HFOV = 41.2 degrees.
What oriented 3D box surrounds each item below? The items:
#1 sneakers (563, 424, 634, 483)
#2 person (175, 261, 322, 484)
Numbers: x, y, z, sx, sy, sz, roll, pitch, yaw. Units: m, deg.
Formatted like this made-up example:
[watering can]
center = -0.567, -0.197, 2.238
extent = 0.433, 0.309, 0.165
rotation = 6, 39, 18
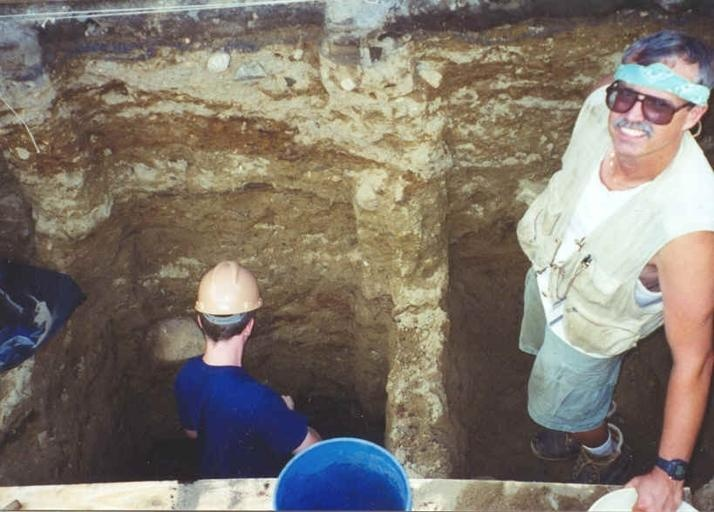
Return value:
[sneakers]
center = 1.437, 1.166, 5.633
extent = 0.284, 0.411, 0.224
rotation = 12, 45, -19
[person]
center = -0.685, 0.736, 5.364
extent = 0.612, 1.099, 0.808
rotation = -23, 42, -33
